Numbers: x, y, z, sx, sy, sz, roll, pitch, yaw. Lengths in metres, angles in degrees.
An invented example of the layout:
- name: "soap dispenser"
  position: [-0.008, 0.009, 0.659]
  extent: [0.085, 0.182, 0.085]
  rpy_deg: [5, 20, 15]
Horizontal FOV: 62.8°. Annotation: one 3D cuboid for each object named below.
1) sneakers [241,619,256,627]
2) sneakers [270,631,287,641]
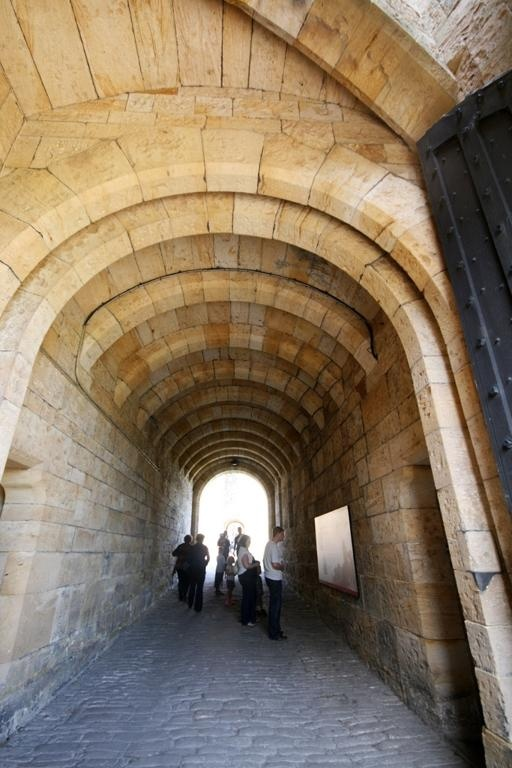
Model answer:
- name: "sneakers"
  position: [-0.107, 3.264, 5.744]
  extent: [0.196, 0.122, 0.067]
  rpy_deg: [1, -7, -8]
- name: "sneakers"
  position: [0.275, 2.972, 4.961]
  extent: [0.243, 0.079, 0.116]
  rpy_deg: [11, -25, -29]
